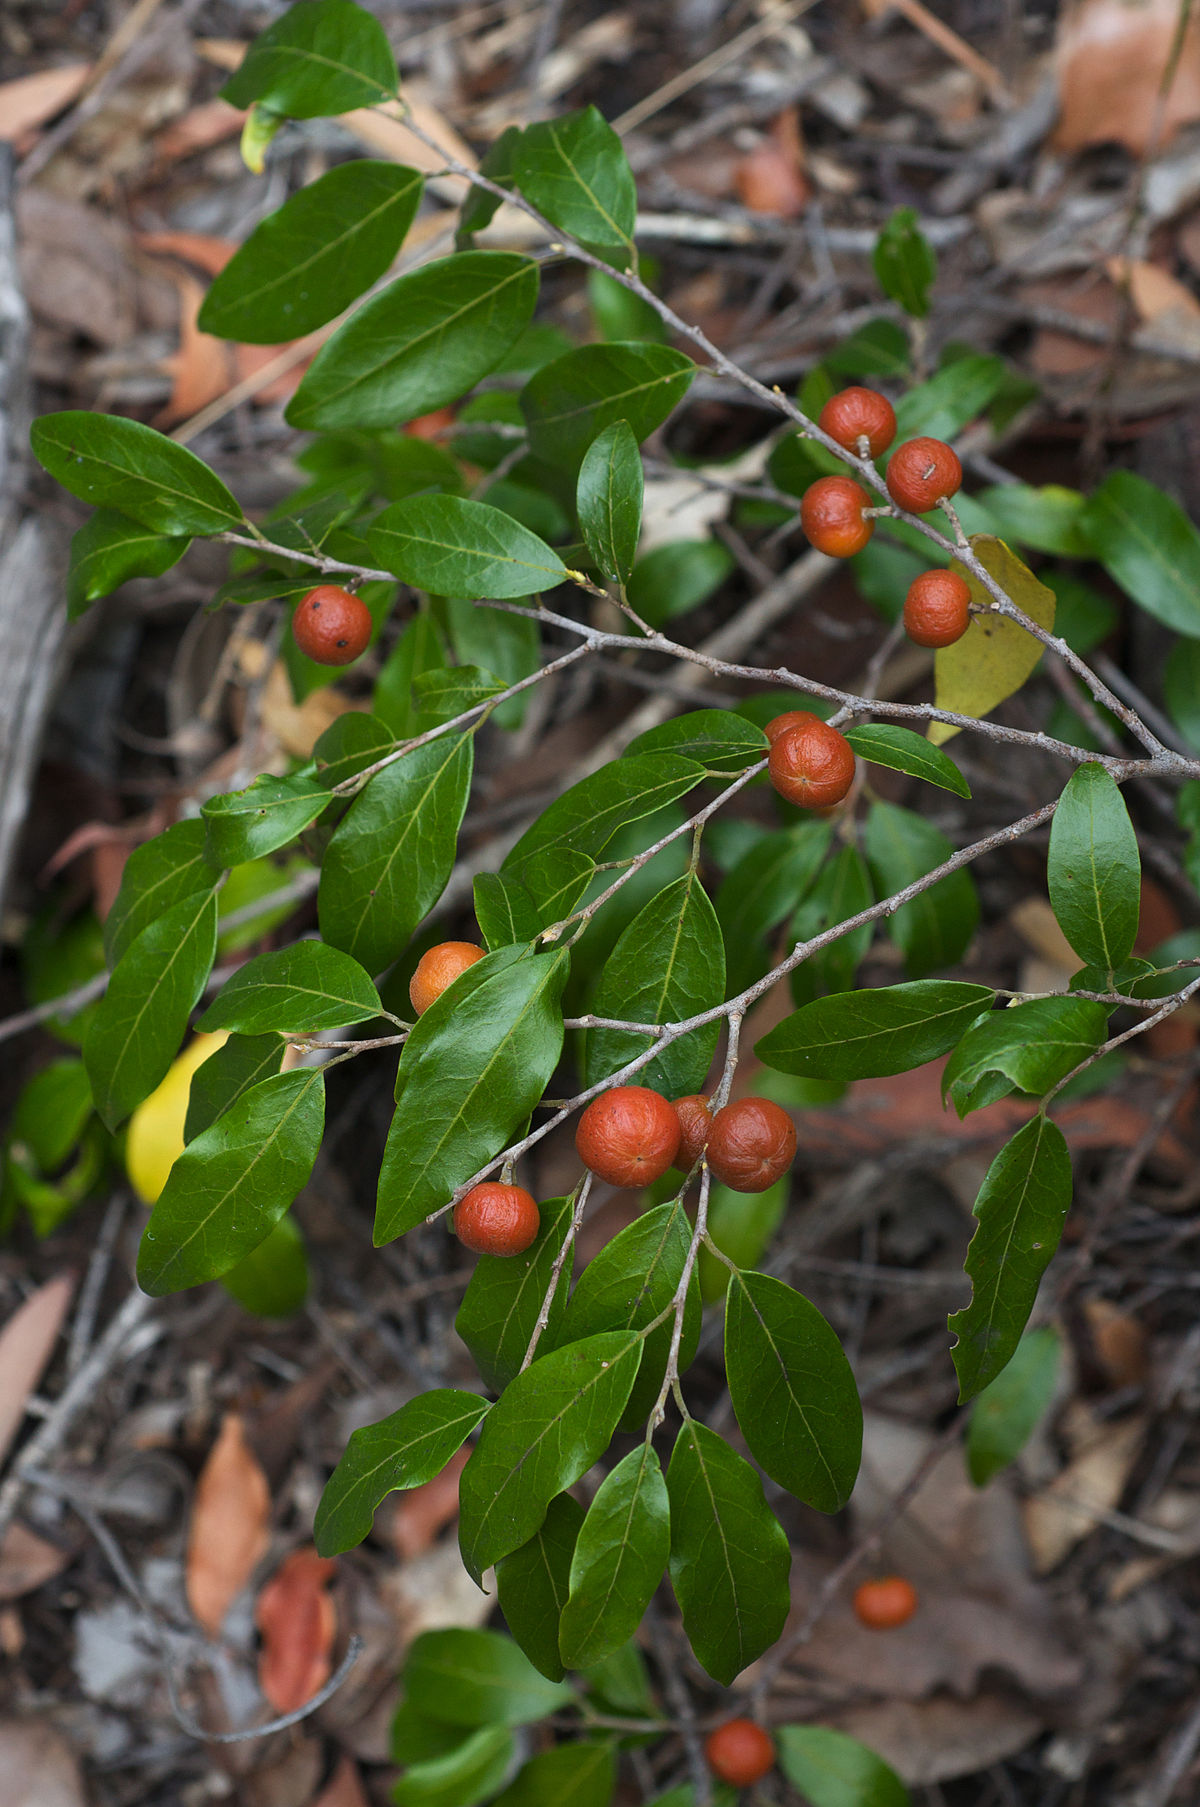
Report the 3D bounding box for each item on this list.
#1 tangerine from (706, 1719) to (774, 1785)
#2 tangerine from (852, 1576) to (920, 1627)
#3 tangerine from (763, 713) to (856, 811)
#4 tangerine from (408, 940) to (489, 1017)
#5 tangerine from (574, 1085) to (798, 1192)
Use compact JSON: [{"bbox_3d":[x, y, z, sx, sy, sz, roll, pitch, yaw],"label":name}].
[{"bbox_3d":[0.134,0.797,1.524,0.055,0.061,0.052,-28,64,-2],"label":"tangerine"},{"bbox_3d":[0.260,0.636,1.477,0.069,0.037,0.049,-5,92,6],"label":"tangerine"},{"bbox_3d":[0.130,-0.103,1.120,0.037,0.055,0.067,-34,58,-23],"label":"tangerine"},{"bbox_3d":[-0.106,0.047,1.114,0.028,0.046,0.055,45,34,-3],"label":"tangerine"},{"bbox_3d":[0.048,0.148,1.069,0.155,0.066,0.064,1,44,-13],"label":"tangerine"}]
